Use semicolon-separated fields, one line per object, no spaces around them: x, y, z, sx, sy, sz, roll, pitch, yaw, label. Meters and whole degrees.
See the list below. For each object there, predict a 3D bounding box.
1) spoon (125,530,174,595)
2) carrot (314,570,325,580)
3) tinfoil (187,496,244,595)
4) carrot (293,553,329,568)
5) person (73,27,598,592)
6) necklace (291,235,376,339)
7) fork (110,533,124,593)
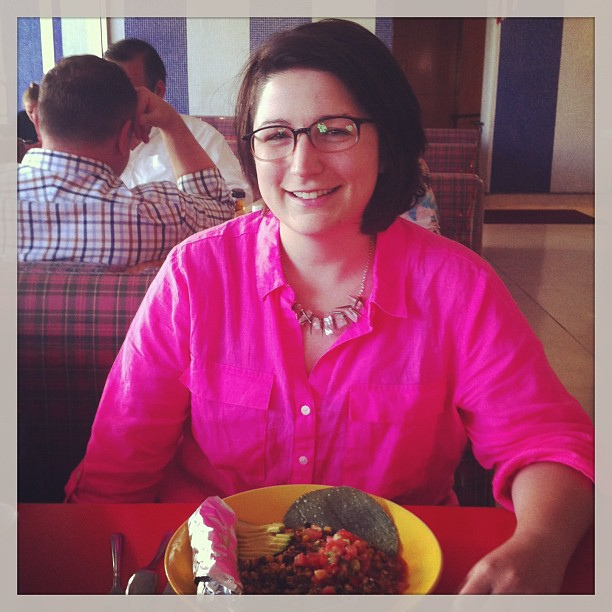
-0.197;0.335;0.773;0.036;0.144;0.019;13;19;-19;spoon
0.018;0.343;0.780;0.010;0.011;0.005;27;-1;-12;carrot
-0.119;0.303;0.777;0.065;0.115;0.043;2;-21;-9;tinfoil
0.008;0.325;0.778;0.034;0.022;0.014;4;36;0;carrot
0.043;0.140;1.149;0.971;1.003;0.628;0;8;0;person
0.044;-0.027;0.928;0.137;0.173;0.035;-6;-36;22;necklace
-0.244;0.336;0.796;0.015;0.068;0.027;-1;8;-18;fork
